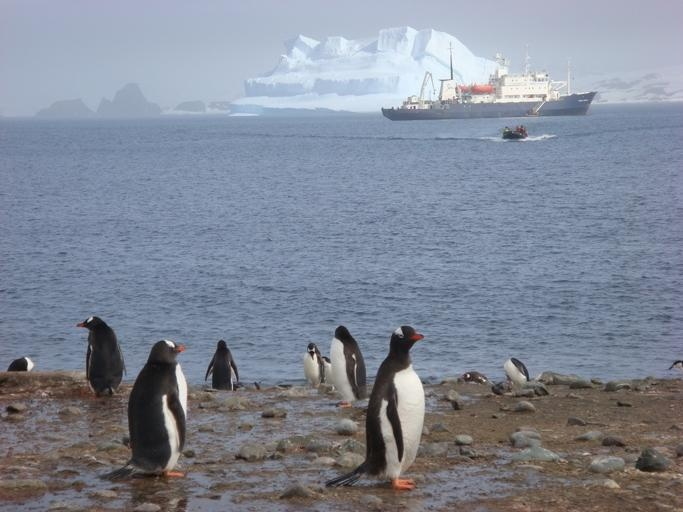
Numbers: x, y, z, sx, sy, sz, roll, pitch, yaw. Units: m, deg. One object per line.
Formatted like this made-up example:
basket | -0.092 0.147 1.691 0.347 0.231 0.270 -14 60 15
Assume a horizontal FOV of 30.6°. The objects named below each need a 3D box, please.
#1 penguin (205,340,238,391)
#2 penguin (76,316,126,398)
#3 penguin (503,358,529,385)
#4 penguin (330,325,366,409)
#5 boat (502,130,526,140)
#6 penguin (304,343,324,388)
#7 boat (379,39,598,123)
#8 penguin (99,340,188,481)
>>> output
penguin | -3.195 3.124 33.532 0.913 0.830 2.018 -2 50 -3
penguin | -6.080 2.500 31.504 1.176 1.931 1.036 -7 13 -26
penguin | 4.712 3.080 33.276 0.542 0.387 0.948 -5 -26 9
penguin | 0.104 2.725 31.537 1.229 1.869 1.085 3 -4 -24
boat | 18.427 -12.733 131.428 1.459 1.138 3.803 -3 12 -10
penguin | -0.701 2.921 33.824 0.567 1.147 0.872 -1 12 -1
boat | 20.826 -22.830 171.044 29.576 8.018 8.816 1 13 25
penguin | -4.033 3.296 26.996 1.494 2.855 0.932 -4 13 -15
